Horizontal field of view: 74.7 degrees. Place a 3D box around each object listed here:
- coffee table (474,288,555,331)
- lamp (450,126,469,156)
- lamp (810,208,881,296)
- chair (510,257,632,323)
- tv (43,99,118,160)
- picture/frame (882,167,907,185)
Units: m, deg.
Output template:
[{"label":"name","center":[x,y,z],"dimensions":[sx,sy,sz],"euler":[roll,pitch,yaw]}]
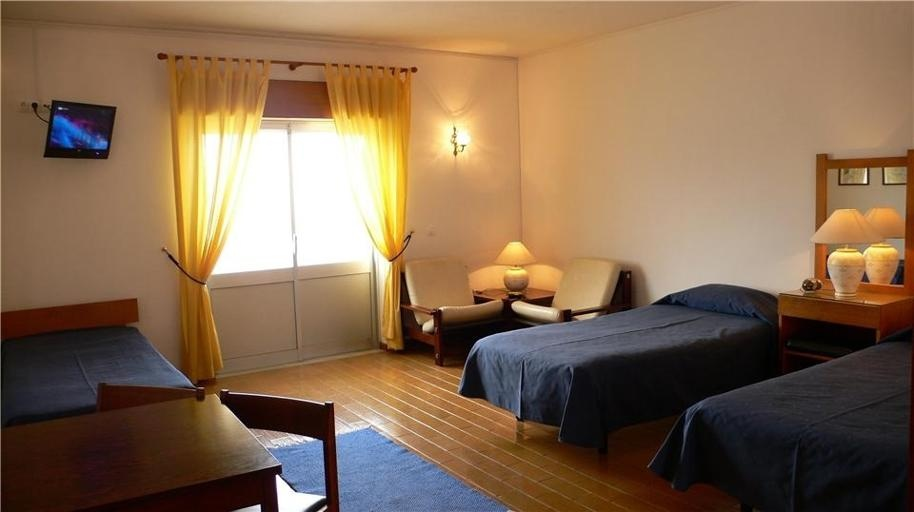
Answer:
[{"label":"coffee table","center":[0.767,0.628,8.188],"dimensions":[0.679,0.589,0.658],"euler":[-5,8,-40]},{"label":"lamp","center":[0.047,-1.621,8.394],"dimensions":[0.284,0.408,0.114],"euler":[-2,10,-11]},{"label":"lamp","center":[3.897,-0.049,6.003],"dimensions":[0.503,0.848,0.405],"euler":[-5,11,-26]},{"label":"chair","center":[1.455,0.481,7.617],"dimensions":[1.194,0.901,0.889],"euler":[-5,7,-34]},{"label":"tv","center":[-4.178,-1.404,6.565],"dimensions":[0.695,0.624,0.088],"euler":[9,9,-30]},{"label":"picture/frame","center":[4.311,-0.805,5.887],"dimensions":[0.022,0.183,0.198],"euler":[-11,8,-39]}]
